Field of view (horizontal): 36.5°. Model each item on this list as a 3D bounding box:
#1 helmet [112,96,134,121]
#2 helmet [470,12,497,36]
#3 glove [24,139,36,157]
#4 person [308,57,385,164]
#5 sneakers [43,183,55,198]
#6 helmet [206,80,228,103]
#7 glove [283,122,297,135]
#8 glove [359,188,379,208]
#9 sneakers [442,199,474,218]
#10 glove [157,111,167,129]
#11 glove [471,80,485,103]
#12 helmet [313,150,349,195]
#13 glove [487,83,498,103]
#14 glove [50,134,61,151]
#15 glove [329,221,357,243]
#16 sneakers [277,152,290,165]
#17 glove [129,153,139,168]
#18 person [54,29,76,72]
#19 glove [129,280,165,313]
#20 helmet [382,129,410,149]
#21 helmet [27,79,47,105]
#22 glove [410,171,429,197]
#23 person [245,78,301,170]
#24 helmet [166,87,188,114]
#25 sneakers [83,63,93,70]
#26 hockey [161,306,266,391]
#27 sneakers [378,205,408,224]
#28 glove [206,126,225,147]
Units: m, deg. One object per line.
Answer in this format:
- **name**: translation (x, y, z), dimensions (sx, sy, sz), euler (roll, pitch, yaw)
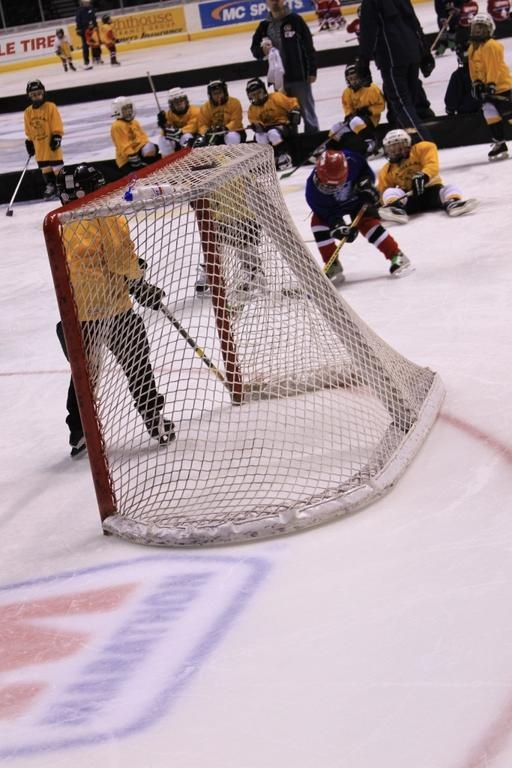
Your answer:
- **helmet**: translation (-1.213, -2.516, 7.048), dimensions (0.178, 0.207, 0.359), euler (-11, 16, -6)
- **helmet**: translation (1.593, -2.498, 5.390), dimensions (0.152, 0.150, 0.187), euler (5, 9, 28)
- **glove**: translation (-2.254, -2.366, 7.772), dimensions (0.076, 0.160, 0.258), euler (-14, 17, -12)
- **person**: translation (0.782, -2.371, 6.689), dimensions (0.651, 0.727, 0.476), euler (-5, 30, 1)
- **sneakers**: translation (-2.163, -2.029, 8.122), dimensions (0.072, 0.081, 0.186), euler (3, 46, 0)
- **helmet**: translation (-0.344, -2.630, 6.990), dimensions (0.164, 0.210, 0.281), euler (-10, 16, -3)
- **glove**: translation (0.314, -2.340, 7.100), dimensions (0.116, 0.026, 0.113), euler (-4, -8, -23)
- **glove**: translation (0.538, -0.888, 3.694), dimensions (0.088, 0.090, 0.119), euler (-10, 16, -3)
- **sneakers**: translation (1.196, -1.034, 4.587), dimensions (0.192, 0.059, 0.136), euler (-17, -21, 40)
- **glove**: translation (-0.883, -2.494, 7.292), dimensions (0.065, 0.163, 0.132), euler (-5, 7, -13)
- **glove**: translation (1.639, -2.163, 5.726), dimensions (0.093, 0.140, 0.036), euler (0, 24, 26)
- **helmet**: translation (0.317, -0.949, 3.466), dimensions (0.157, 0.174, 0.170), euler (2, -4, -4)
- **glove**: translation (1.690, -2.099, 5.576), dimensions (0.087, 0.096, 0.077), euler (1, -1, -7)
- **glove**: translation (-1.988, -2.418, 7.743), dimensions (0.116, 0.131, 0.049), euler (4, 13, -1)
- **glove**: translation (0.415, -0.736, 3.737), dimensions (0.184, 0.082, 0.228), euler (1, 9, 1)
- **sneakers**: translation (0.254, -2.085, 7.185), dimensions (0.114, 0.130, 0.050), euler (-4, 9, -38)
- **glove**: translation (-1.123, -2.066, 7.198), dimensions (0.099, 0.090, 0.093), euler (9, 35, 22)
- **person**: translation (-3.708, -6.480, 14.989), dimensions (0.272, 0.906, 1.119), euler (-13, 17, -9)
- **glove**: translation (-0.335, -0.269, 2.414), dimensions (0.042, 0.077, 0.121), euler (-13, -36, 41)
- **helmet**: translation (0.822, -1.412, 4.529), dimensions (0.119, 0.117, 0.135), euler (-9, -28, 12)
- **helmet**: translation (-2.151, -2.859, 7.591), dimensions (0.160, 0.248, 0.363), euler (-13, 17, -11)
- **glove**: translation (0.961, -1.182, 4.600), dimensions (0.106, 0.120, 0.040), euler (5, 10, -27)
- **person**: translation (0.146, -2.403, 7.163), dimensions (0.507, 0.787, 0.444), euler (-19, 21, -24)
- **helmet**: translation (-0.724, -2.623, 7.221), dimensions (0.195, 0.232, 0.190), euler (-8, 17, 4)
- **sneakers**: translation (-3.189, -6.031, 14.747), dimensions (0.225, 0.078, 0.235), euler (1, 20, 1)
- **hockey**: translation (-0.141, -0.115, 2.658), dimensions (0.068, 0.448, 0.062), euler (-41, 13, 38)
- **sneakers**: translation (0.824, -1.036, 4.735), dimensions (0.232, 0.076, 0.146), euler (-2, 7, -19)
- **glove**: translation (-0.367, -2.241, 7.002), dimensions (0.180, 0.154, 0.383), euler (-9, 16, 0)
